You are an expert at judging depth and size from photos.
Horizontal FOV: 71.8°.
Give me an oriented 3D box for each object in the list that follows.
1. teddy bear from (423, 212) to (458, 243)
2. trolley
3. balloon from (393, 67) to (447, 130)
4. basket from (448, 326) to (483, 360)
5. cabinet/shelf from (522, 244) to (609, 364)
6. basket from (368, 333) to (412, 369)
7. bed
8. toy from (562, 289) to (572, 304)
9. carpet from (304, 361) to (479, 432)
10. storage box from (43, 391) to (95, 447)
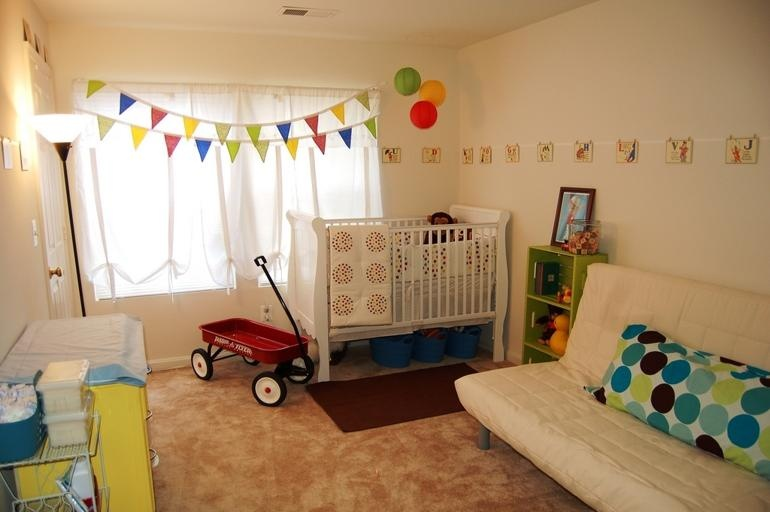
[{"bbox_3d":[0.554,-0.276,5.321,0.314,0.458,0.377,1,-4,0],"label":"teddy bear"},{"bbox_3d":[-1.163,0.656,4.655,1.072,1.011,0.694,12,13,35],"label":"trolley"},{"bbox_3d":[0.344,-1.410,4.867,0.353,0.493,0.598,2,10,21],"label":"balloon"},{"bbox_3d":[0.786,0.845,5.319,0.269,0.316,0.358,7,1,-13],"label":"basket"},{"bbox_3d":[1.420,0.279,4.460,0.378,0.664,0.230,13,12,41],"label":"cabinet/shelf"},{"bbox_3d":[0.038,0.889,5.137,0.473,0.297,0.310,4,0,42],"label":"basket"},{"bbox_3d":[0.112,0.260,5.259,1.911,1.424,1.138,-3,6,-17],"label":"bed"},{"bbox_3d":[1.477,0.333,4.335,0.053,0.098,0.096,-7,12,-14],"label":"toy"},{"bbox_3d":[0.068,1.181,4.479,1.370,0.117,0.792,-4,9,-17],"label":"carpet"},{"bbox_3d":[-1.459,0.768,2.462,0.155,0.114,0.244,0,-6,-24],"label":"storage box"}]
